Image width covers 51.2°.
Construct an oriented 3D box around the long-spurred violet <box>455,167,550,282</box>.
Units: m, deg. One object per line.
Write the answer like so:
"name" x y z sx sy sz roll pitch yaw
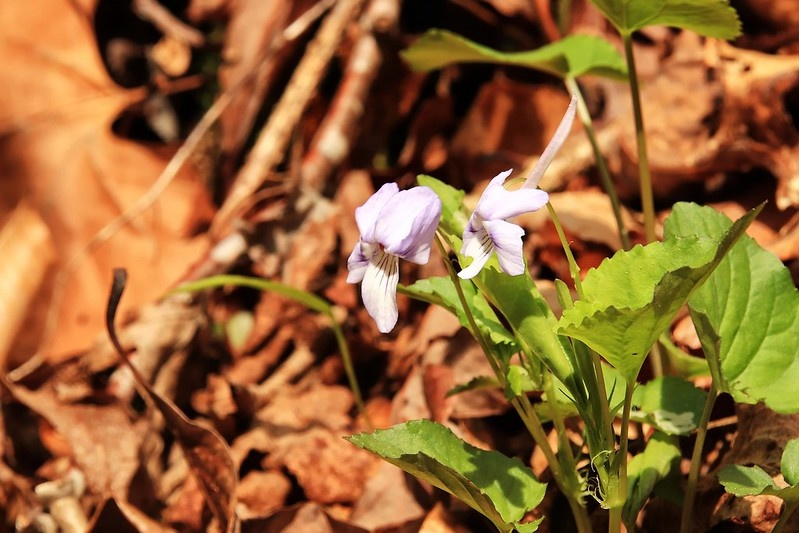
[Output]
"long-spurred violet" 0.382 -0.189 3.287 0.266 0.391 0.373 -12 6 -30
